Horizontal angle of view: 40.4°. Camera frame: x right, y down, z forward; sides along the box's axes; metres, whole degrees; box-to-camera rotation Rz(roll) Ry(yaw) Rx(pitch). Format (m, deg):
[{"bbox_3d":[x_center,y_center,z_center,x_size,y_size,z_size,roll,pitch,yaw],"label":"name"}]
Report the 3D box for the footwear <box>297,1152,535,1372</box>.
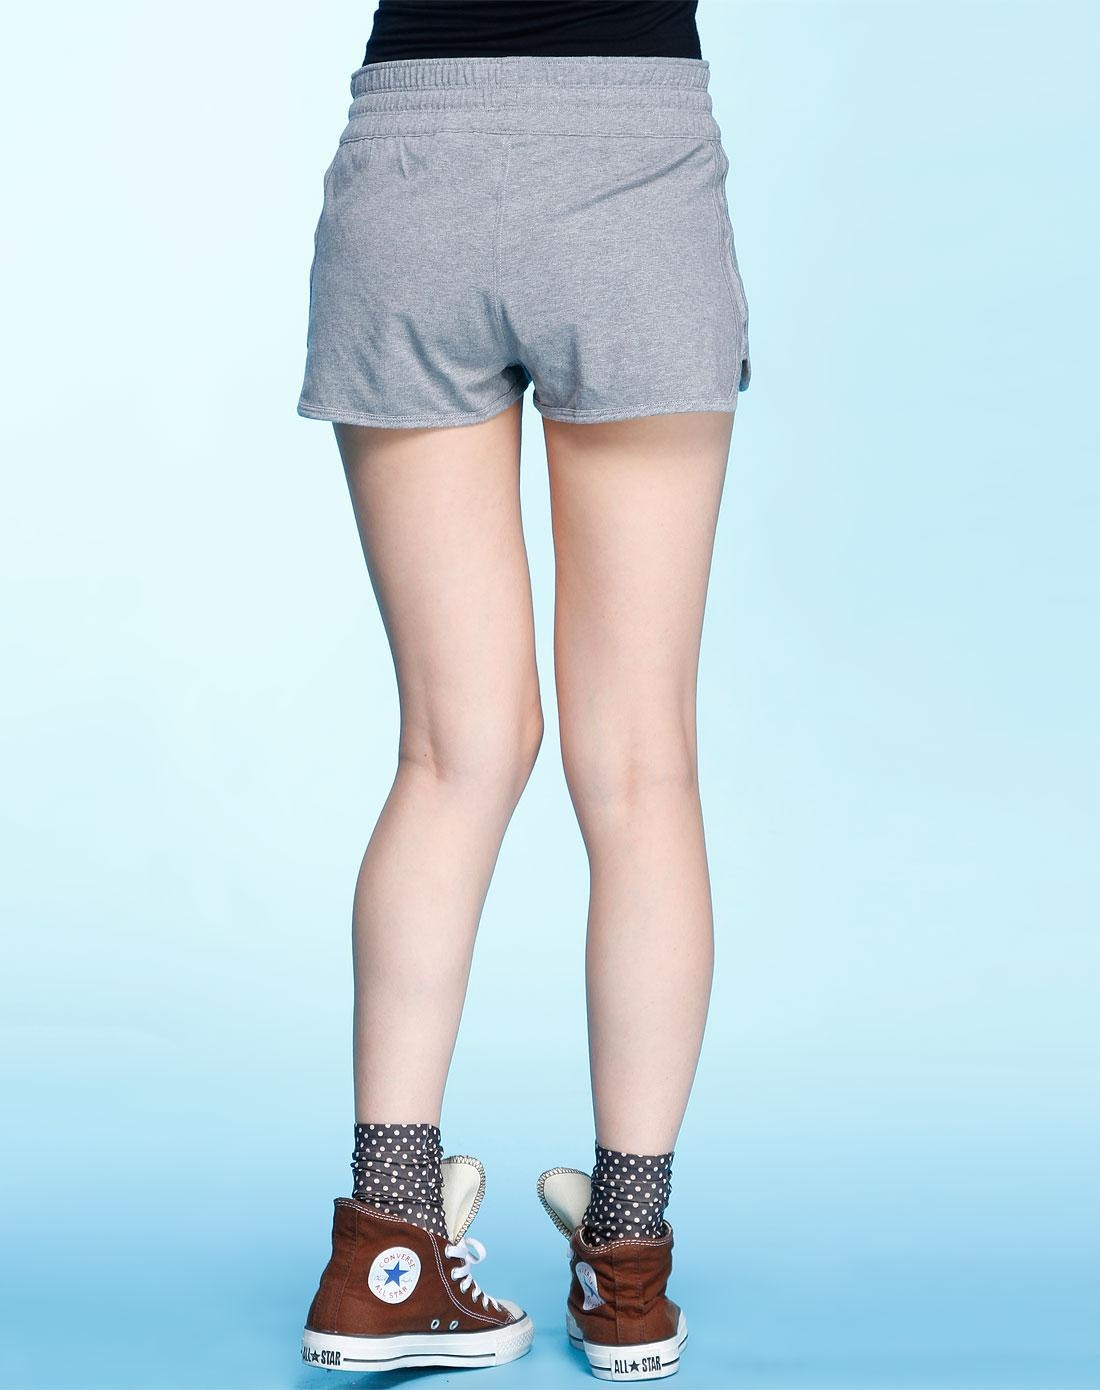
[{"bbox_3d":[-0.092,0.450,1.183,0.104,0.144,0.233,-3,-18,34],"label":"footwear"}]
